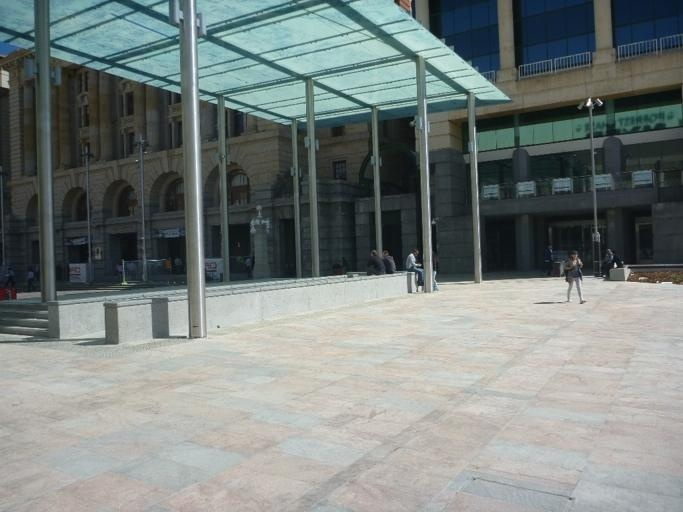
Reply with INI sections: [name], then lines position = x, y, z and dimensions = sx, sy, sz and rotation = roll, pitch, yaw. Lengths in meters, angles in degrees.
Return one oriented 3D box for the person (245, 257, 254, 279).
[person]
position = -6.358, 0.682, 44.308
dimensions = 0.586, 1.423, 1.330
rotation = -5, 0, -8
